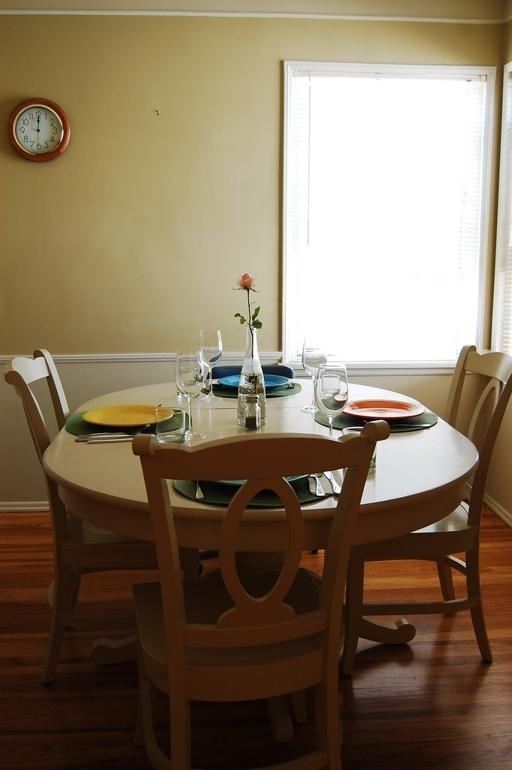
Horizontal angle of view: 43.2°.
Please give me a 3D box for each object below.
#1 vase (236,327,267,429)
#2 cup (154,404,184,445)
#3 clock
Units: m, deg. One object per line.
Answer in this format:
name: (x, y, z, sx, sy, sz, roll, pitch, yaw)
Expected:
vase: (-0.015, -0.013, 1.759, 0.093, 0.289, 0.093, 6, -7, -32)
cup: (-0.216, 0.108, 1.669, 0.080, 0.090, 0.077, 3, 3, 0)
clock: (-0.989, -1.165, 2.942, 0.264, 0.266, 0.043, 0, 12, 2)
